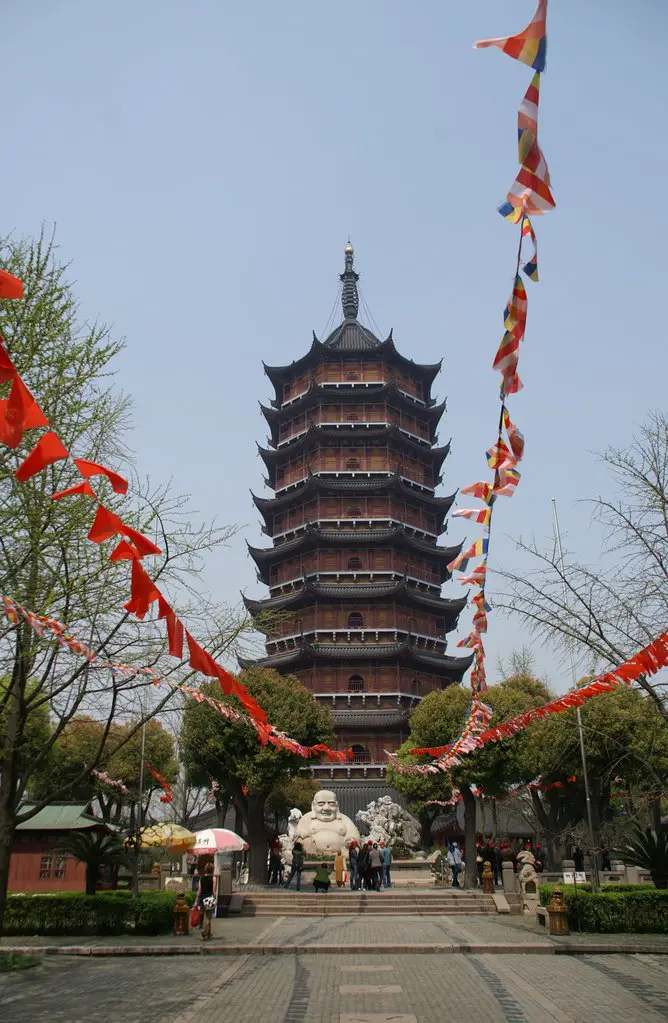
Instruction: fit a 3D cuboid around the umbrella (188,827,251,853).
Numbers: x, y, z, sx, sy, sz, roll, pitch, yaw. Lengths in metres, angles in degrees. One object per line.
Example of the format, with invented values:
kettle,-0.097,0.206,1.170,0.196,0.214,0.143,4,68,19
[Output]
umbrella,-2.441,6.795,20.404,0.930,0.468,1.286,-2,-22,-5
